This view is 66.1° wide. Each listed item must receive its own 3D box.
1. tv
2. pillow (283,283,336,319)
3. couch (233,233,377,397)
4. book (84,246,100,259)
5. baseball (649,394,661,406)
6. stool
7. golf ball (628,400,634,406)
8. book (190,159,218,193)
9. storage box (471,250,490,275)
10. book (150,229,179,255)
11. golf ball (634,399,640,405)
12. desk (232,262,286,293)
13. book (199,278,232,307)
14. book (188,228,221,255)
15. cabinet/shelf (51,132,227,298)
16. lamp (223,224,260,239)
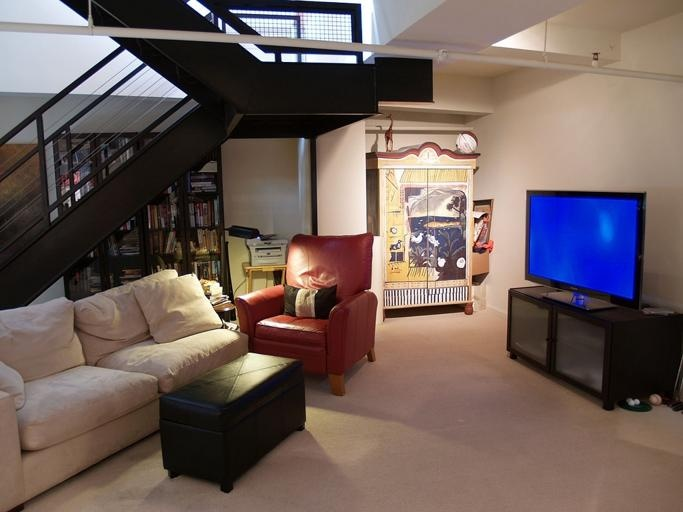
[{"bbox_3d":[2.061,-0.082,4.640,1.154,0.893,0.105,6,-5,-10],"label":"tv"},{"bbox_3d":[-0.312,0.436,4.949,0.531,0.350,0.176,4,10,18],"label":"pillow"},{"bbox_3d":[-0.208,0.530,5.221,1.363,1.714,1.360,3,5,26],"label":"couch"},{"bbox_3d":[-2.631,-0.030,5.516,0.108,0.112,0.154,0,9,-2],"label":"book"},{"bbox_3d":[2.538,1.168,4.252,0.097,0.077,0.080,4,10,22],"label":"baseball"},{"bbox_3d":[-0.749,1.175,3.891,0.581,0.589,1.066,1,8,26],"label":"stool"},{"bbox_3d":[2.314,1.182,4.205,0.036,0.035,0.036,1,5,0],"label":"golf ball"},{"bbox_3d":[-1.569,-0.909,5.992,0.360,0.350,0.084,-6,16,-44],"label":"book"},{"bbox_3d":[1.763,0.073,6.696,0.224,0.340,0.429,1,5,26],"label":"storage box"},{"bbox_3d":[-2.003,-0.150,5.905,0.282,0.276,0.017,-4,10,-27],"label":"book"},{"bbox_3d":[2.369,1.172,4.212,0.026,0.036,0.058,8,12,37],"label":"golf ball"},{"bbox_3d":[-0.971,0.198,6.574,0.476,0.483,0.483,-2,8,-21],"label":"desk"},{"bbox_3d":[-1.322,0.377,5.396,0.309,0.116,0.254,5,10,33],"label":"book"},{"bbox_3d":[-1.576,-0.186,6.124,0.269,0.373,0.376,-3,6,4],"label":"book"},{"bbox_3d":[-2.085,-0.427,5.381,0.479,1.687,1.522,10,16,35],"label":"cabinet/shelf"},{"bbox_3d":[-1.139,-0.275,5.946,0.346,0.108,0.196,6,14,13],"label":"lamp"}]
